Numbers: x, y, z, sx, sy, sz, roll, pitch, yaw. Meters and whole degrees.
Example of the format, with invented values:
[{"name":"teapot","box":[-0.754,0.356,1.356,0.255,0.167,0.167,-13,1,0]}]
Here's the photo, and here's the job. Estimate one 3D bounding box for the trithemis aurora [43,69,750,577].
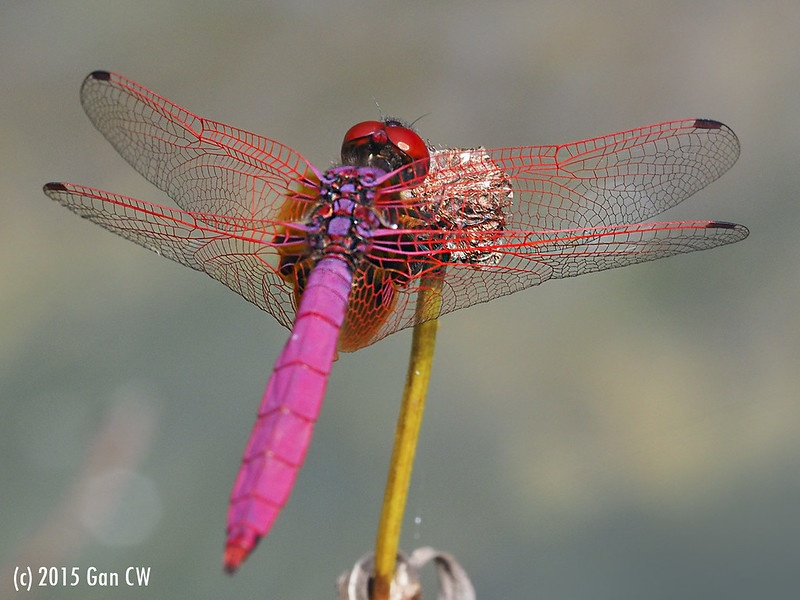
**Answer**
[{"name":"trithemis aurora","box":[0.023,0.261,1.949,1.100,0.814,0.443,0,-33,4]}]
